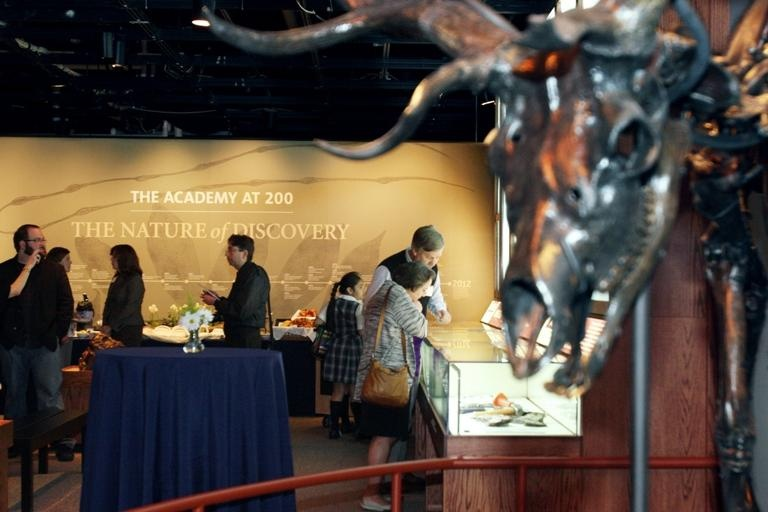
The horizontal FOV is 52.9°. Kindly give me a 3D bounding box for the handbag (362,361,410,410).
[{"bbox_3d":[0.013,0.795,4.771,0.331,0.267,0.130,8,11,2],"label":"handbag"}]

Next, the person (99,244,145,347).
[{"bbox_3d":[-2.267,0.335,6.742,0.319,0.872,0.247,5,-6,-13],"label":"person"}]

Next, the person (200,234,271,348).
[{"bbox_3d":[-1.139,0.277,6.161,0.401,0.883,0.329,5,-6,-11],"label":"person"}]

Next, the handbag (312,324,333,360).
[{"bbox_3d":[-0.541,0.754,6.836,0.244,0.273,0.114,0,-5,39],"label":"handbag"}]

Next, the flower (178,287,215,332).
[{"bbox_3d":[-1.264,0.386,5.162,0.204,0.228,0.510,5,-6,-14],"label":"flower"}]

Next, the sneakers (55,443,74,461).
[{"bbox_3d":[-2.556,1.568,6.227,0.137,0.125,0.159,3,2,5],"label":"sneakers"}]

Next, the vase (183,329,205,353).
[{"bbox_3d":[-1.204,0.544,4.931,0.147,0.190,0.138,-1,-1,-6],"label":"vase"}]
